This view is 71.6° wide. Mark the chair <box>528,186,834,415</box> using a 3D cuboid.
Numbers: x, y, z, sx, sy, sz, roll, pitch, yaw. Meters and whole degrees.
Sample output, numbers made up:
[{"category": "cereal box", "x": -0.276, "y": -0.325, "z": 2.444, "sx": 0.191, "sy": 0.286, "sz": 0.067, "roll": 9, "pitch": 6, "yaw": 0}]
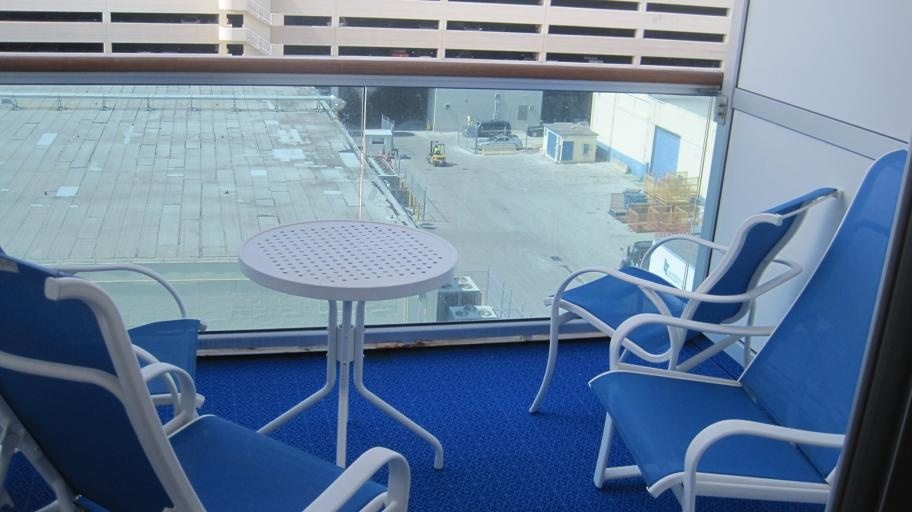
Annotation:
[{"category": "chair", "x": 1.091, "y": -0.001, "z": 3.628, "sx": 1.507, "sy": 1.504, "sz": 1.053, "roll": 16, "pitch": 27, "yaw": 36}]

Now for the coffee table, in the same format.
[{"category": "coffee table", "x": -0.558, "y": 0.334, "z": 3.169, "sx": 1.210, "sy": 1.213, "sz": 1.092, "roll": -6, "pitch": 19, "yaw": -26}]
